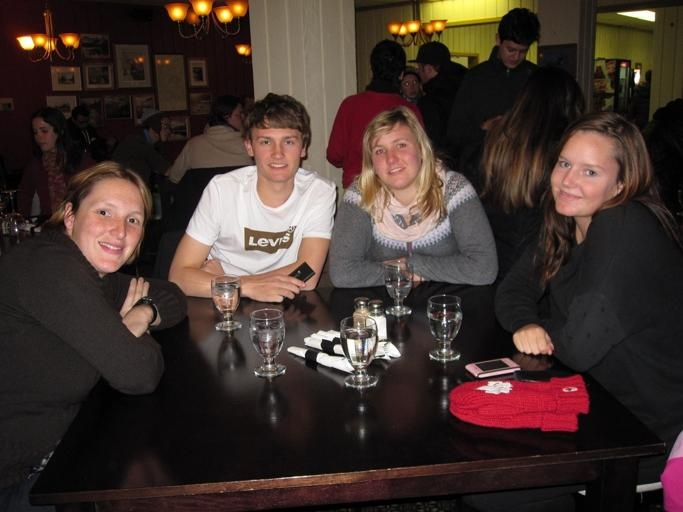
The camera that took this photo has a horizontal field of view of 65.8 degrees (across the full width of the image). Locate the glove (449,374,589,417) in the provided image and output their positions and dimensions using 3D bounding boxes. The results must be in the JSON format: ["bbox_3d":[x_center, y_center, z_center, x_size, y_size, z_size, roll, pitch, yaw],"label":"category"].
[{"bbox_3d":[0.465,0.359,1.358,0.235,0.051,0.143,-4,4,3],"label":"glove"}]

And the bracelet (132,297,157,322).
[{"bbox_3d":[-0.691,0.182,1.858,0.067,0.093,0.053,-5,-4,1],"label":"bracelet"}]

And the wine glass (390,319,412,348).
[{"bbox_3d":[0.201,0.257,1.793,0.067,0.059,0.116,-26,6,9],"label":"wine glass"}]

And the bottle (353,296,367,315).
[{"bbox_3d":[0.067,0.166,1.798,0.058,0.055,0.059,1,5,-4],"label":"bottle"}]
